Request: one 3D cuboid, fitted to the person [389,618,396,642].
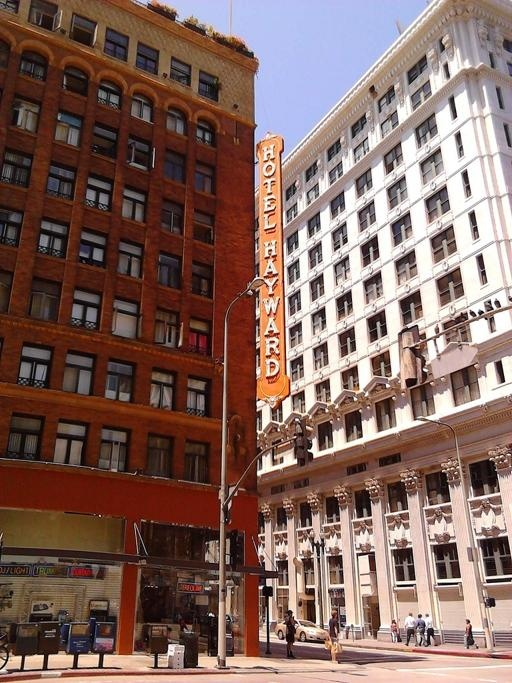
[{"bbox_3d":[9.380,19.762,33.910,0.393,1.256,1.119,-7,-26,12],"label":"person"}]

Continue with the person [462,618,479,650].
[{"bbox_3d":[12.089,16.572,28.223,0.598,1.365,3.246,-10,-27,19],"label":"person"}]

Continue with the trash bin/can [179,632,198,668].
[{"bbox_3d":[-1.761,8.220,13.241,0.437,0.798,1.244,2,-26,-8],"label":"trash bin/can"}]
